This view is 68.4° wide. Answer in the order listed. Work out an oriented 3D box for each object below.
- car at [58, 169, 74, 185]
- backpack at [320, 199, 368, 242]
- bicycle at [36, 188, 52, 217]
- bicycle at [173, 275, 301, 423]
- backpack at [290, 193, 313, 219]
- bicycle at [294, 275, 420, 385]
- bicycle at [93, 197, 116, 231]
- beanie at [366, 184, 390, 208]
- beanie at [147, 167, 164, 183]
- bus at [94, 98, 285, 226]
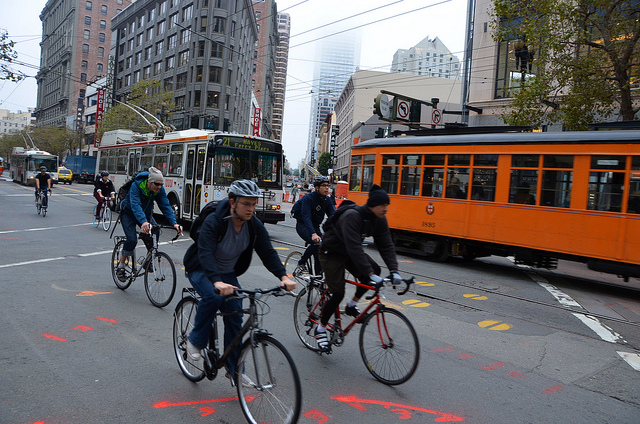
[{"bbox_3d":[-27.244,-3.850,50.244,1.258,1.503,1.628,-3,8,-31],"label":"car"},{"bbox_3d":[0.474,0.072,7.075,0.693,0.638,0.493,5,12,-21],"label":"backpack"},{"bbox_3d":[-10.912,-0.443,18.881,0.647,0.859,1.421,2,2,-33],"label":"bicycle"},{"bbox_3d":[-1.048,1.584,5.699,0.593,1.541,2.032,-5,10,-44],"label":"bicycle"},{"bbox_3d":[-0.481,-0.206,9.719,0.118,0.463,0.489,36,29,30],"label":"backpack"},{"bbox_3d":[0.395,1.555,6.948,0.651,1.462,2.516,9,0,-43],"label":"bicycle"},{"bbox_3d":[-7.419,0.170,16.479,0.653,0.812,1.334,3,0,-33],"label":"bicycle"},{"bbox_3d":[0.839,-0.238,6.848,0.365,0.319,0.272,-3,1,39],"label":"beanie"},{"bbox_3d":[-3.175,-0.727,8.984,0.321,0.263,0.228,8,1,-35],"label":"beanie"},{"bbox_3d":[-5.726,-1.979,22.168,4.202,5.807,13.090,-2,3,-44],"label":"bus"}]
